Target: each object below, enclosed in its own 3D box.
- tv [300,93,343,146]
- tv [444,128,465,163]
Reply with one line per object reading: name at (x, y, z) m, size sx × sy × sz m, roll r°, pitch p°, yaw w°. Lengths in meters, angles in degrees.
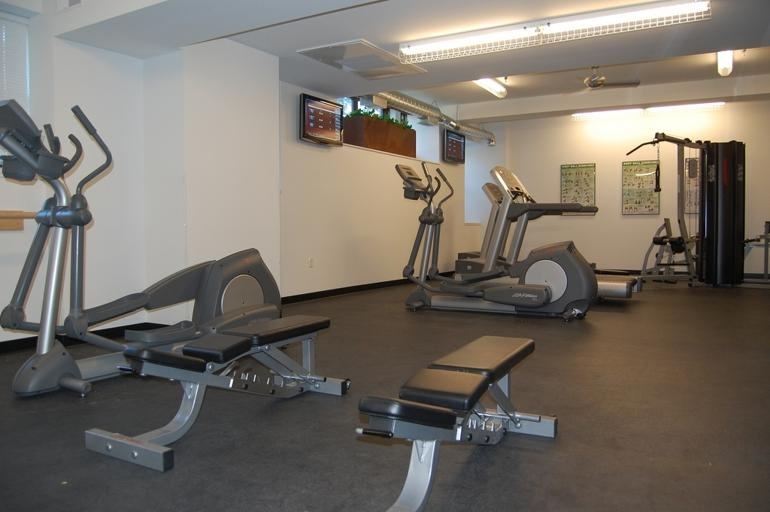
tv at (-0.871, -1.819, 7.469) m, size 0.115 × 0.555 × 0.854 m, roll 0°, pitch 1°, yaw 35°
tv at (1.255, -2.036, 10.227) m, size 0.090 × 0.435 × 0.667 m, roll -2°, pitch -1°, yaw 33°
